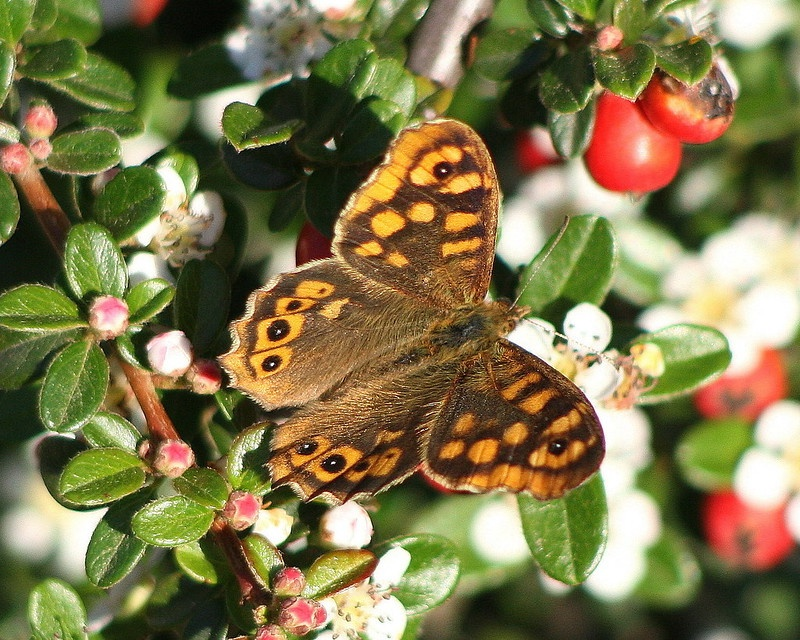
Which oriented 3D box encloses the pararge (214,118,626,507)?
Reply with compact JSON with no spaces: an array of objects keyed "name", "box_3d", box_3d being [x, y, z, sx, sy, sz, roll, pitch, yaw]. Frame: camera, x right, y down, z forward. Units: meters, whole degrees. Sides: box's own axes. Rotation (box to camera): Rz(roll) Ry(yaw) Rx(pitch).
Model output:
[{"name":"pararge","box_3d":[-0.012,0.085,2.041,0.617,0.426,0.726,-23,83,-2]}]
